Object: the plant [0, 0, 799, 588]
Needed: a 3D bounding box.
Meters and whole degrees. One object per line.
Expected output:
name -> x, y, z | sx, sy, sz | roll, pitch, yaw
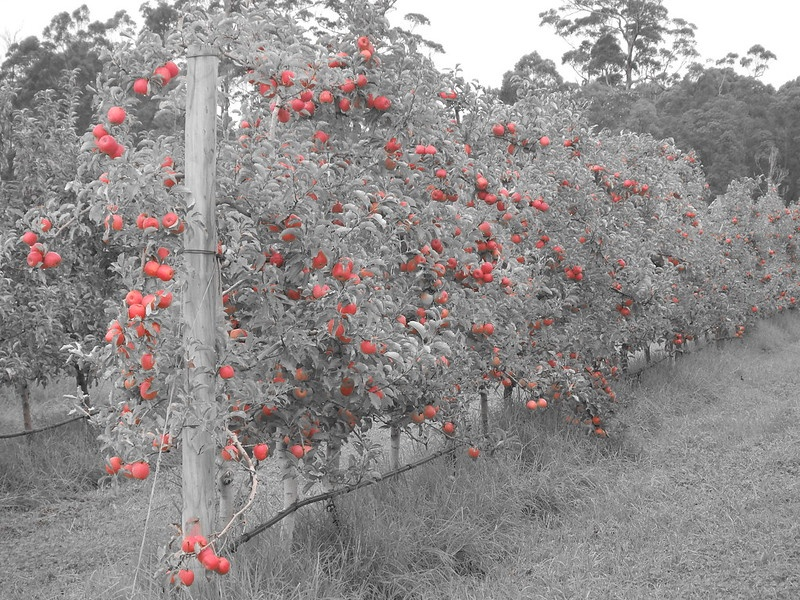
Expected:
plant -> -0.060, -0.445, 8.512 | 7.203, 5.529, 5.391 | -4, -1, -39
